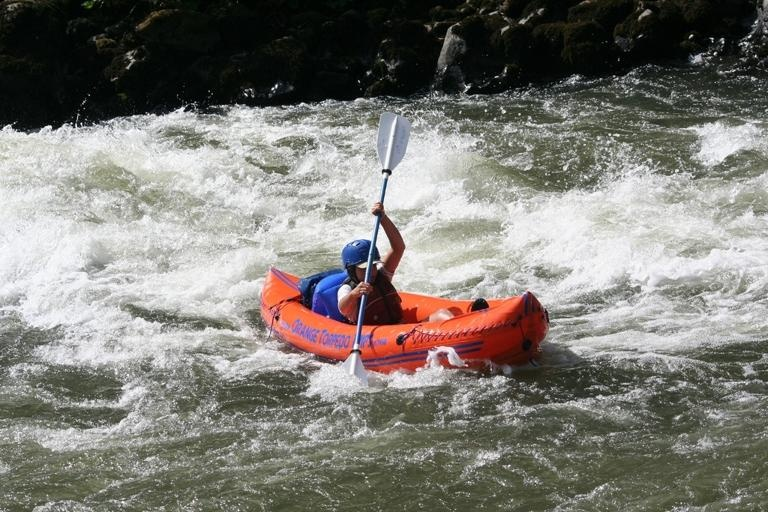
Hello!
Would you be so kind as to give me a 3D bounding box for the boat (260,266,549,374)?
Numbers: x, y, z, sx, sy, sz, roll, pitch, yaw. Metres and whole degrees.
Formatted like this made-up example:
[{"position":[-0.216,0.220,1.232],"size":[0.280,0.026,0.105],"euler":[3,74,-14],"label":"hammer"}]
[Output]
[{"position":[0.246,1.088,19.261],"size":[3.496,0.968,1.634],"euler":[4,16,22],"label":"boat"}]
